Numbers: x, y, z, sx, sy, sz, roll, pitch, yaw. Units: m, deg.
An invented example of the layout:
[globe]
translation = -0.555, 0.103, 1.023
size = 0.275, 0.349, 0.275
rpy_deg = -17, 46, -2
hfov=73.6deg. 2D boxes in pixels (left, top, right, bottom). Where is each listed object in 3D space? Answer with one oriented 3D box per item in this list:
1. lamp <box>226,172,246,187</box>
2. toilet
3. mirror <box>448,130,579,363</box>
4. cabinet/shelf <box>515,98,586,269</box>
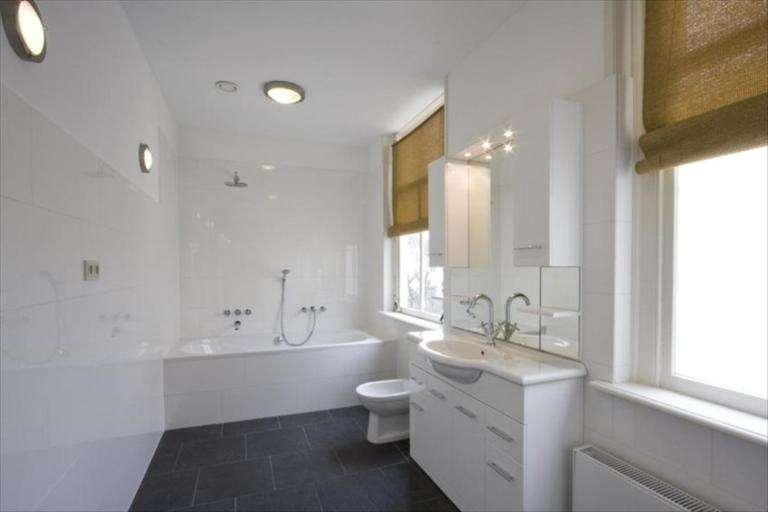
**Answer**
[lamp]
translation = -1.390, -0.712, 4.822
size = 0.206, 0.146, 0.078
rpy_deg = 1, -3, -18
[toilet]
translation = 0.096, 1.023, 3.676
size = 0.646, 0.427, 0.402
rpy_deg = -4, 3, -8
[mirror]
translation = 0.699, -0.058, 3.026
size = 0.274, 1.147, 1.058
rpy_deg = 1, -2, -21
[cabinet/shelf]
translation = 0.825, -0.356, 2.622
size = 0.357, 0.823, 0.194
rpy_deg = -1, -3, 23
